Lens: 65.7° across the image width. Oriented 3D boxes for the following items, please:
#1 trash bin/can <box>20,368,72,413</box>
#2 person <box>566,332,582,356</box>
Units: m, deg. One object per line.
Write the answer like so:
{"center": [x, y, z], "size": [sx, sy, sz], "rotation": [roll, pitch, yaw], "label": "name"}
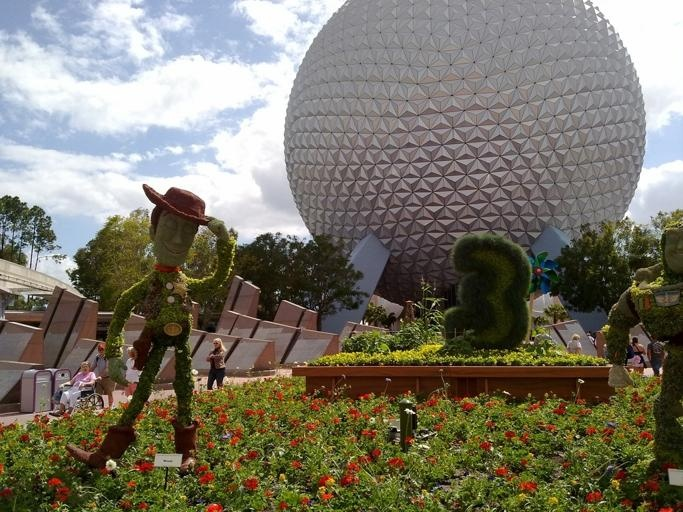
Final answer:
{"center": [-5.501, 2.495, 9.714], "size": [0.287, 0.768, 0.839], "rotation": [-2, -7, 19], "label": "trash bin/can"}
{"center": [6.272, 2.351, 14.202], "size": [0.293, 0.502, 1.201], "rotation": [7, -7, 24], "label": "person"}
